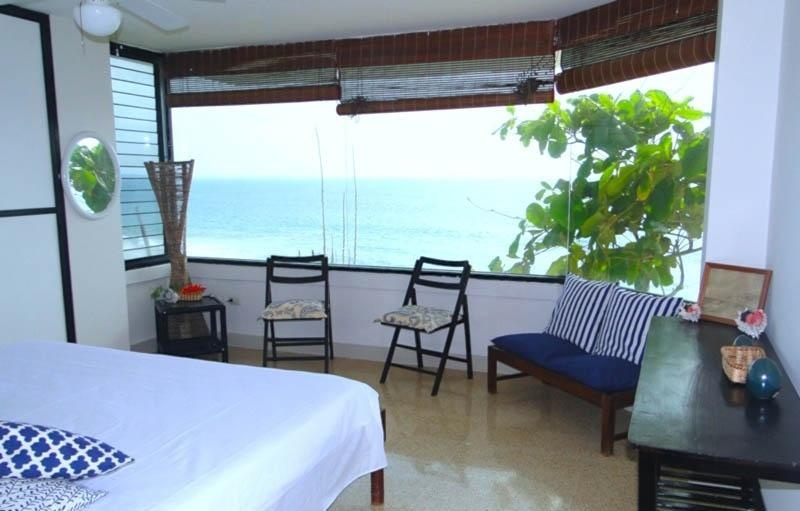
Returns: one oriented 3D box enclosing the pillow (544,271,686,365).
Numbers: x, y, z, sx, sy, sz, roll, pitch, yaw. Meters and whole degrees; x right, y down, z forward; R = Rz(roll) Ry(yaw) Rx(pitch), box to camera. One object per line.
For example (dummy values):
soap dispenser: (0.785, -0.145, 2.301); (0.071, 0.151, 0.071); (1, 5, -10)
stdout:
pillow: (1.796, 0.531, 4.721); (0.151, 0.419, 0.756); (32, -16, -31)

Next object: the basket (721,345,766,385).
basket: (1.993, 0.633, 3.362); (0.186, 0.092, 0.243); (-1, 5, 8)

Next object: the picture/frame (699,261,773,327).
picture/frame: (2.378, 0.291, 4.047); (0.032, 0.453, 0.445); (19, -15, -39)

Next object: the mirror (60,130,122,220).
mirror: (-2.889, -0.746, 5.298); (0.062, 0.811, 0.768); (1, 9, 20)
